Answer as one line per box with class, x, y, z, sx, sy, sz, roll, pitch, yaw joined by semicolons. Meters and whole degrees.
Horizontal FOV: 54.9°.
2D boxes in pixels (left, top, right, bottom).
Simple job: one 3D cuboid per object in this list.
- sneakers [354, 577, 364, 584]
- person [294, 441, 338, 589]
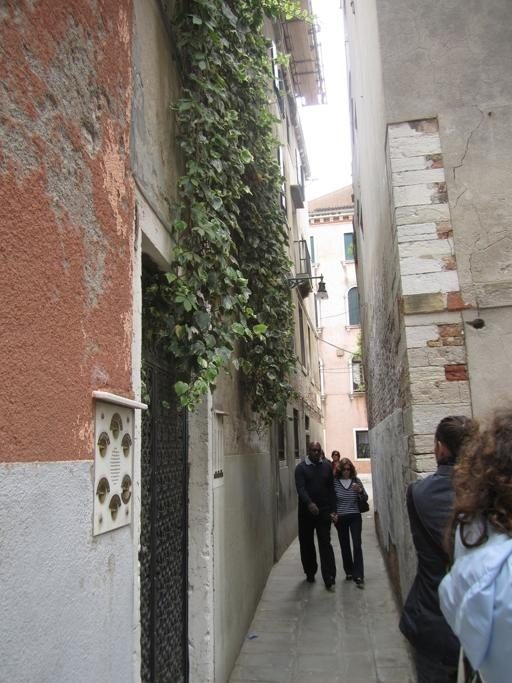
sneakers;1.475;3.414;7.070;0.134;0.092;0.200;-4;-13;13
person;0.889;2.527;7.373;0.642;2.035;0.902;2;-10;-15
